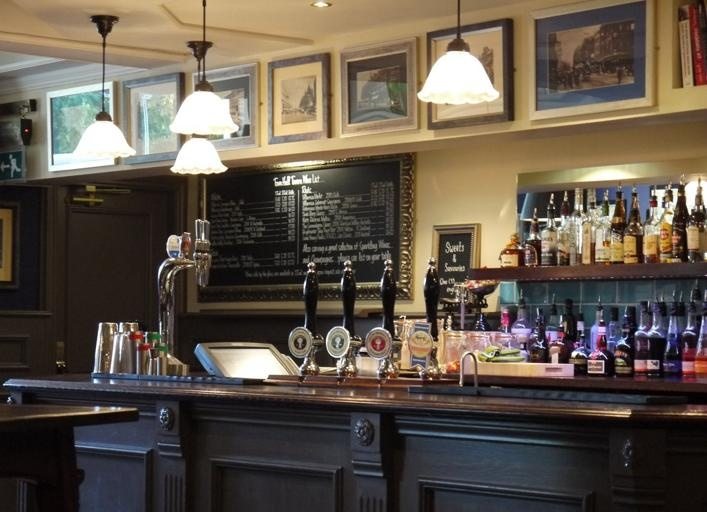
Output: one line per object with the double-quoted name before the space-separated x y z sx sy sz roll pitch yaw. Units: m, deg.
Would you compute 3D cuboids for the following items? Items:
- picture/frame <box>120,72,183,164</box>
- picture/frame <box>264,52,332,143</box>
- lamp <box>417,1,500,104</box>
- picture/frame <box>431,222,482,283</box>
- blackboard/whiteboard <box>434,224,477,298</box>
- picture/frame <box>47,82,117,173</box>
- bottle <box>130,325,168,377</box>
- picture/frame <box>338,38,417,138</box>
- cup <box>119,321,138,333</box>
"picture/frame" -1.427 -0.984 5.413 0.780 0.721 0.057 -6 -5 41
"picture/frame" -0.352 -1.077 5.134 0.585 0.730 0.058 -3 -7 35
"lamp" 0.466 -0.871 3.381 0.249 0.366 0.283 -1 1 -45
"picture/frame" 0.731 -0.015 5.234 0.371 0.543 0.038 -5 -12 33
"blackboard/whiteboard" 0.719 0.036 5.368 0.344 0.523 0.139 0 1 17
"picture/frame" -1.934 -0.931 5.437 0.700 0.732 0.029 -4 -3 29
"bottle" -1.066 0.514 3.954 0.166 0.246 0.223 4 -4 -40
"picture/frame" 0.182 -1.084 4.896 0.617 0.662 0.048 -3 -6 30
"cup" -1.195 0.381 4.048 0.085 0.055 0.087 1 -4 0
